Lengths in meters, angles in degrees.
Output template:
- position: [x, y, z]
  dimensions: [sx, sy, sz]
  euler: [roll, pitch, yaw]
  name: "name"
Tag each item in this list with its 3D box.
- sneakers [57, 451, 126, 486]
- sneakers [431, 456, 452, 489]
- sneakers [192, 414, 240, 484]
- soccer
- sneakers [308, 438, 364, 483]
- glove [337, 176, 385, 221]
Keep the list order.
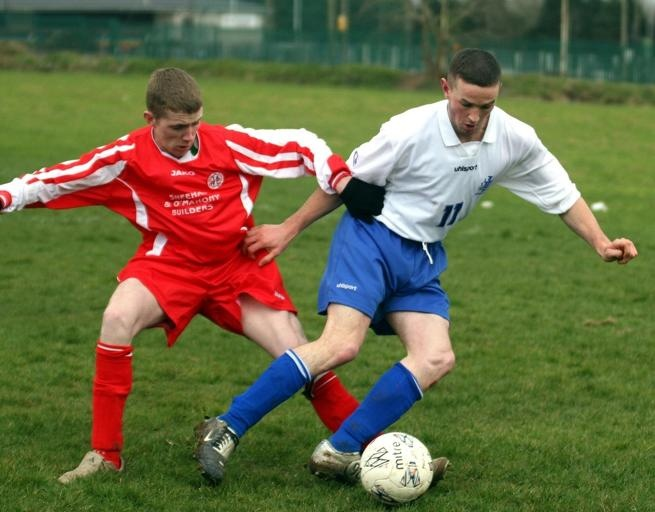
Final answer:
- position: [-1.740, 1.523, 8.014]
  dimensions: [0.479, 0.195, 0.166]
  euler: [-8, 2, -25]
  name: "sneakers"
- position: [0.816, 1.576, 8.031]
  dimensions: [0.092, 0.192, 0.158]
  euler: [16, 0, -1]
  name: "sneakers"
- position: [-0.808, 1.366, 7.935]
  dimensions: [0.281, 0.495, 0.226]
  euler: [6, -27, -30]
  name: "sneakers"
- position: [0.485, 1.514, 7.835]
  dimensions: [0.444, 0.364, 0.477]
  euler: [-18, -16, -5]
  name: "soccer"
- position: [0.049, 1.487, 7.993]
  dimensions: [0.377, 0.251, 0.229]
  euler: [7, 3, -7]
  name: "sneakers"
- position: [0.267, -0.425, 8.143]
  dimensions: [0.319, 0.304, 0.111]
  euler: [3, 9, 6]
  name: "glove"
